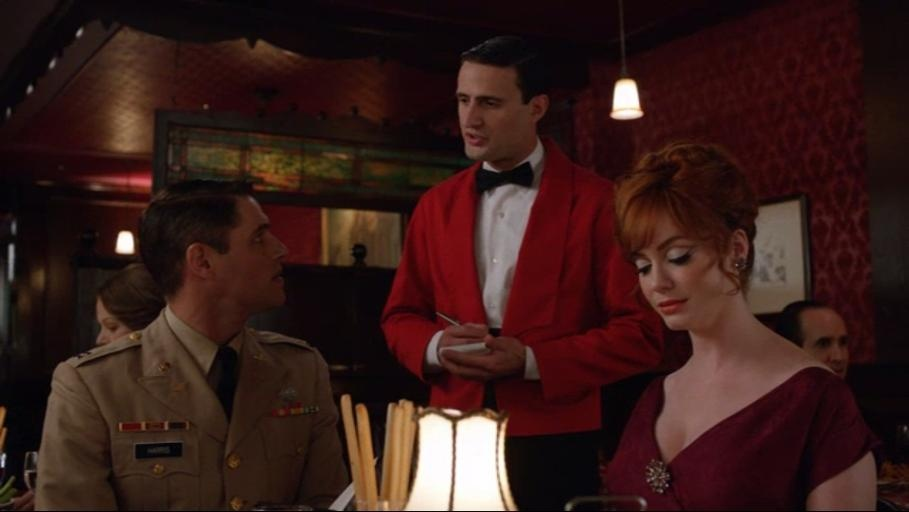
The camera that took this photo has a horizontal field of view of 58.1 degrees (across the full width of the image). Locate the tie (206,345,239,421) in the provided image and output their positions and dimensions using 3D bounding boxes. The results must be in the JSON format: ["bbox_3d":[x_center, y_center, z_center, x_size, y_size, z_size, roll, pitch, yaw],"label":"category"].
[{"bbox_3d":[-1.013,0.547,3.615,0.092,0.368,0.100,12,-28,-23],"label":"tie"}]

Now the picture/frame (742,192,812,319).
[{"bbox_3d":[1.920,0.006,4.831,0.056,0.731,0.758,5,-10,-21],"label":"picture/frame"}]

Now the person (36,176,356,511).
[{"bbox_3d":[-1.322,0.427,3.940,1.622,1.836,1.051,3,-18,-35],"label":"person"}]
